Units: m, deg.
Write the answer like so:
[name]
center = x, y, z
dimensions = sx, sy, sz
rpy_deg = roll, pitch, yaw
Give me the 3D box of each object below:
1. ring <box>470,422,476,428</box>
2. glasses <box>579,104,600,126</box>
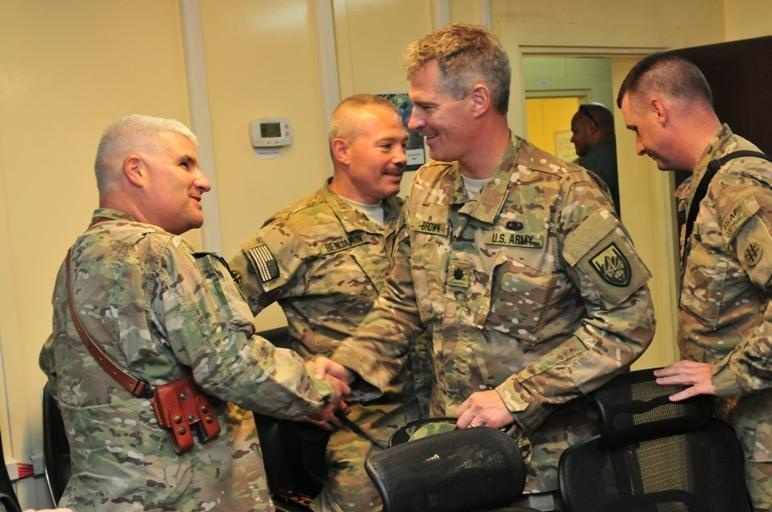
[ring]
center = 0.319, 0.636, 2.584
dimensions = 0.030, 0.026, 0.028
rpy_deg = 1, -24, 0
[glasses]
center = 1.459, -1.012, 5.036
dimensions = 0.163, 0.156, 0.061
rpy_deg = -5, -5, -32
